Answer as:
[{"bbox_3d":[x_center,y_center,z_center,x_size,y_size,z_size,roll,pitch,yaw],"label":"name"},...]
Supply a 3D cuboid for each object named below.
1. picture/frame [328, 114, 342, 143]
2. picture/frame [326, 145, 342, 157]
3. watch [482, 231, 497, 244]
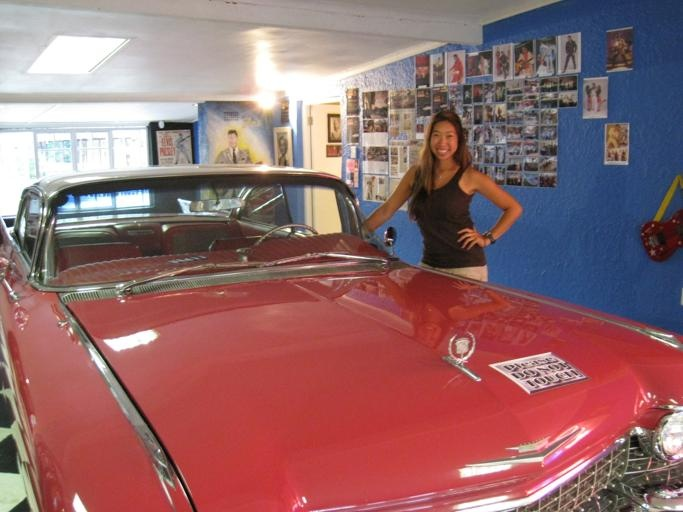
[{"bbox_3d":[-0.144,-2.373,8.562,0.097,0.530,0.326,8,17,40],"label":"picture/frame"},{"bbox_3d":[-0.155,-1.955,8.560,0.332,0.250,0.066,-12,16,-35],"label":"picture/frame"},{"bbox_3d":[0.954,-0.091,2.960,0.053,0.113,0.081,-33,36,-21],"label":"watch"}]
